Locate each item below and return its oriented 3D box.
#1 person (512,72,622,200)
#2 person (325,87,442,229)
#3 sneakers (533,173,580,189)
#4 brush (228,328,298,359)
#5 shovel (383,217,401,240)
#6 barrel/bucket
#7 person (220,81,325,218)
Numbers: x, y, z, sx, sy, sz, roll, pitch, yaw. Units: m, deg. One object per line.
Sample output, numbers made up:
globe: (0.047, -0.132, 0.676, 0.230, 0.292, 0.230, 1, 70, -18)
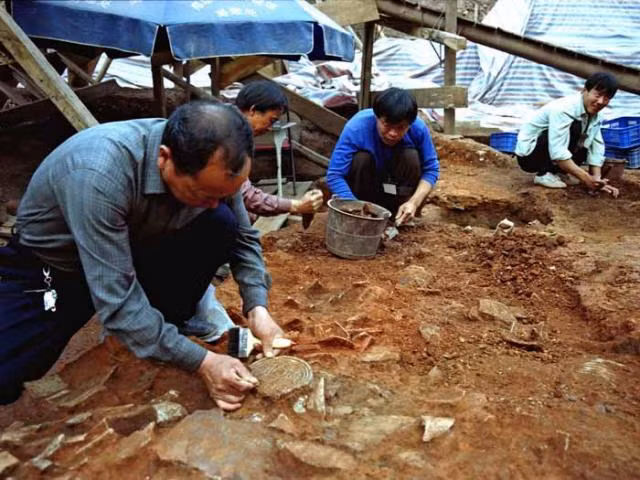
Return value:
person: (3.000, -1.234, 5.476, 0.893, 1.228, 1.317, -7, 17, -19)
person: (0.613, -0.712, 4.338, 1.052, 1.394, 0.712, 6, 35, 2)
sneakers: (2.806, -0.696, 5.512, 0.492, 0.155, 0.170, 2, 16, 27)
brush: (-0.296, 0.521, 2.320, 0.321, 0.133, 0.034, 3, -3, -7)
shovel: (0.679, -0.099, 4.401, 0.093, 0.097, 0.326, 55, 30, 9)
barrel/bucket: (0.316, -0.093, 4.160, 0.543, 0.483, 0.439, 9, 34, 7)
person: (-0.410, -0.763, 3.878, 0.821, 1.076, 0.688, -14, 28, -28)
